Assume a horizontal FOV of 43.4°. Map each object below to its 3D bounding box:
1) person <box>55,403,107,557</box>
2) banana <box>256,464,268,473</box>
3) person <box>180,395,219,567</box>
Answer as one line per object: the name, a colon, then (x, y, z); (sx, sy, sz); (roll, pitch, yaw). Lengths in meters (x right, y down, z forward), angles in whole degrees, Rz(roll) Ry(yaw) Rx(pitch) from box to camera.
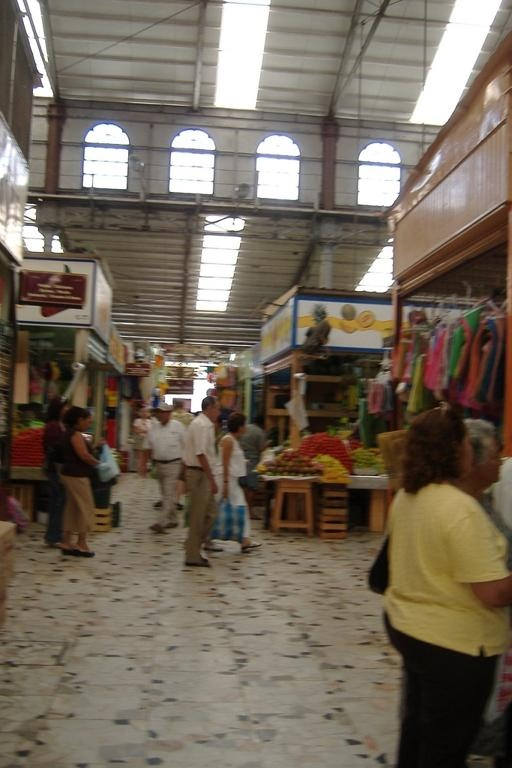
person: (-1.735, 0.962, 6.299); (0.367, 1.462, 0.469); (3, -7, -14)
banana: (0.086, 1.104, 8.232); (0.119, 0.074, 0.118); (-7, 12, 21)
person: (-0.532, 0.911, 6.160); (0.306, 1.600, 0.939); (2, -6, -4)
